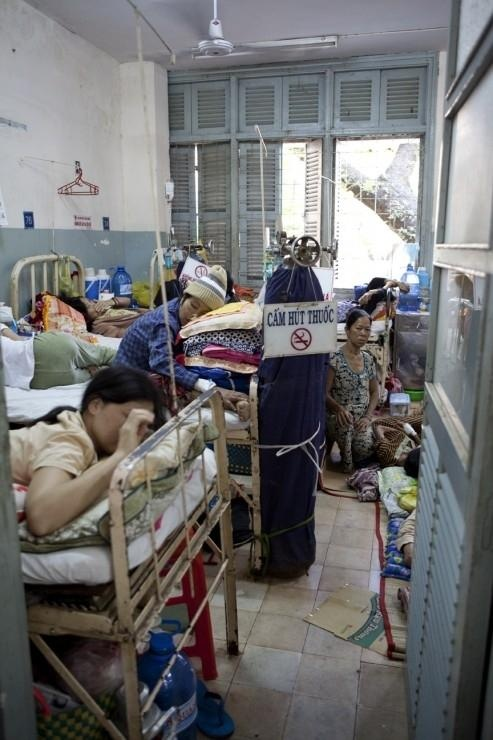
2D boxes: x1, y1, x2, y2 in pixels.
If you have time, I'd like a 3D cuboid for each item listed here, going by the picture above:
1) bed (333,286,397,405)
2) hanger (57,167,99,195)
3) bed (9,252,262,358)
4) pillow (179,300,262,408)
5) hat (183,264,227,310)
[{"bbox_3d":[1.010,-0.408,4.543,0.522,0.615,0.923,0,24,6],"label":"bed"},{"bbox_3d":[-1.383,-1.530,4.318,0.098,0.222,0.319,21,33,31],"label":"hanger"},{"bbox_3d":[-0.941,-0.564,3.676,1.175,0.694,0.892,1,28,0],"label":"bed"},{"bbox_3d":[-0.099,-0.078,2.303,0.318,0.151,0.433,4,26,22],"label":"pillow"},{"bbox_3d":[-0.189,-0.397,2.620,0.168,0.197,0.223,24,-6,-35],"label":"hat"}]
